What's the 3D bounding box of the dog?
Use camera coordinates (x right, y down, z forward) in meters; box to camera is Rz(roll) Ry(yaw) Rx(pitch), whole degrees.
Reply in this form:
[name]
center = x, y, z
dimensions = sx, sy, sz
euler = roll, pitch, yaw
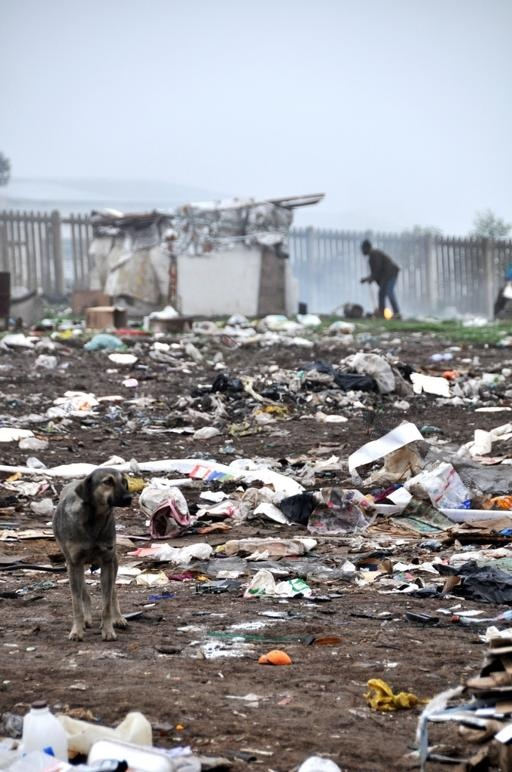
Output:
[dog]
center = -0.714, 0.715, 5.844
dimensions = 0.329, 0.751, 0.549
euler = -4, 5, -9
